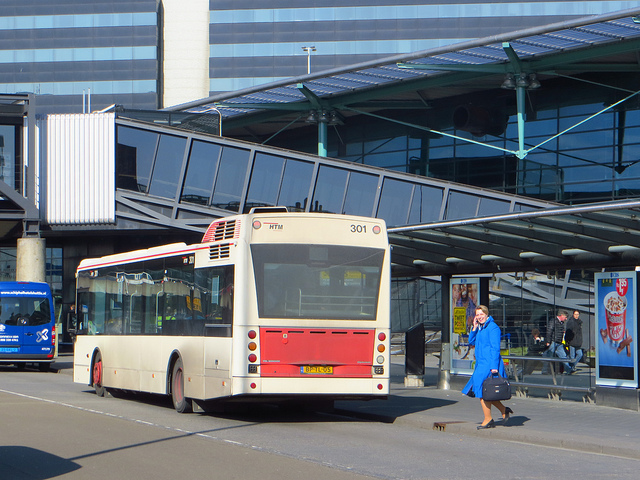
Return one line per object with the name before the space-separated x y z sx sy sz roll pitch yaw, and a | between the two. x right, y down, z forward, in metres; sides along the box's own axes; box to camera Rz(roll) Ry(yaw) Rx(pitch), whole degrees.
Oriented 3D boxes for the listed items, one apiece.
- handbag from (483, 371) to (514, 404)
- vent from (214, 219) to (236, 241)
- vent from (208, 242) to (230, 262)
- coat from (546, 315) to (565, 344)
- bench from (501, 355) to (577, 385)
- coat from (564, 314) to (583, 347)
handbag | 4.207 3.437 26.350 0.348 0.797 0.790 16 -12 -29
vent | -2.273 -0.268 27.144 0.183 0.529 0.729 0 5 -37
vent | -2.430 0.266 27.144 0.149 0.495 0.858 0 5 -35
coat | 7.035 2.644 33.425 0.697 0.741 0.432 9 -7 -26
bench | 6.075 3.539 31.240 0.326 0.922 2.384 -1 5 -40
coat | 7.683 2.717 33.988 0.797 0.814 0.435 9 -8 -26
